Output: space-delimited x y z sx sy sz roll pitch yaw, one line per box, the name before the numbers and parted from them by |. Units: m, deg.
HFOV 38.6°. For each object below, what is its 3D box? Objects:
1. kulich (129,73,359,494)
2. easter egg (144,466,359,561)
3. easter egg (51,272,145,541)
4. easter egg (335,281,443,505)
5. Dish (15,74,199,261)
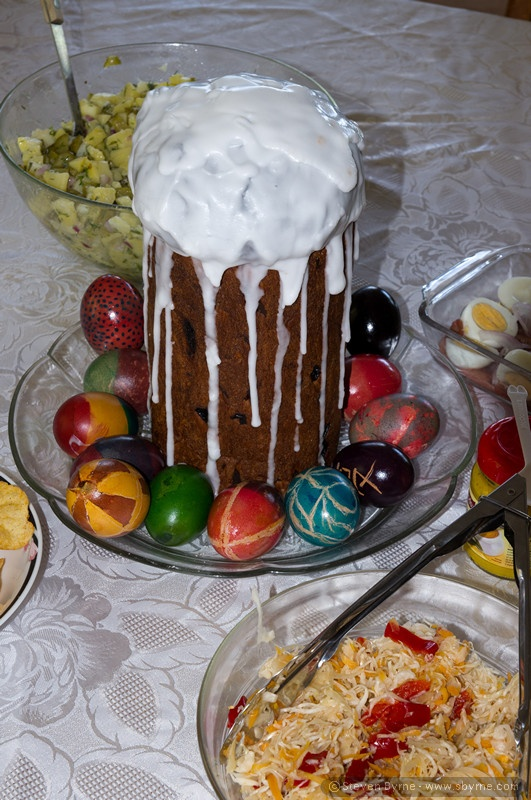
kulich | -0.022 -0.084 0.694 0.205 0.378 0.159 4 43 5
easter egg | -0.013 0.100 0.662 0.179 0.059 0.075 0 59 1
easter egg | -0.142 0.008 0.731 0.103 0.098 0.244 4 79 -21
easter egg | 0.097 -0.009 0.797 0.101 0.087 0.223 0 64 -14
Dish | -0.191 -0.270 0.952 0.256 0.096 0.235 19 73 22
